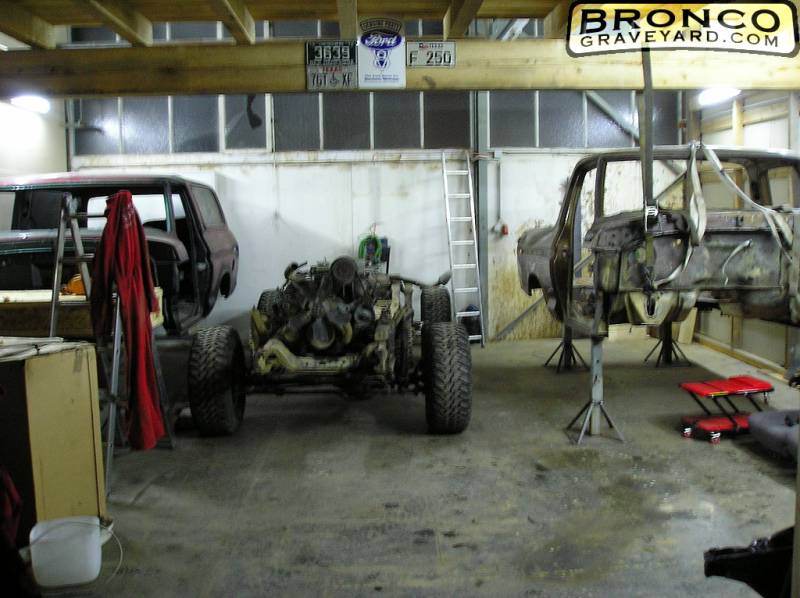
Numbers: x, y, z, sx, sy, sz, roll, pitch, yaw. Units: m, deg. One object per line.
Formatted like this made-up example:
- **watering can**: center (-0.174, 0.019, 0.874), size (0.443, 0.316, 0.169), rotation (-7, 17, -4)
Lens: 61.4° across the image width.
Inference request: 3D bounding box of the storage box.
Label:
- **storage box**: center (-1.833, 1.390, 3.687), size (0.376, 0.422, 0.174), rotation (-1, 8, -11)

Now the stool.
- **stool**: center (2.666, 0.911, 5.603), size (0.650, 0.475, 0.567), rotation (-7, 9, -24)

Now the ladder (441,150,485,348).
- **ladder**: center (0.875, -0.690, 9.042), size (0.557, 2.501, 0.810), rotation (-2, 11, -7)
